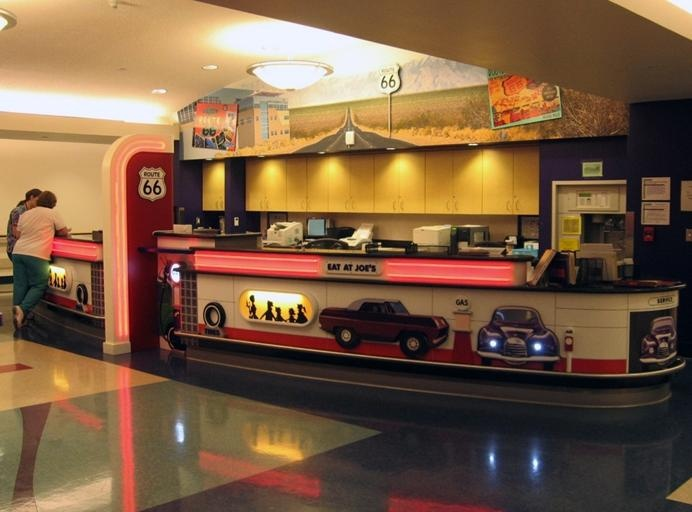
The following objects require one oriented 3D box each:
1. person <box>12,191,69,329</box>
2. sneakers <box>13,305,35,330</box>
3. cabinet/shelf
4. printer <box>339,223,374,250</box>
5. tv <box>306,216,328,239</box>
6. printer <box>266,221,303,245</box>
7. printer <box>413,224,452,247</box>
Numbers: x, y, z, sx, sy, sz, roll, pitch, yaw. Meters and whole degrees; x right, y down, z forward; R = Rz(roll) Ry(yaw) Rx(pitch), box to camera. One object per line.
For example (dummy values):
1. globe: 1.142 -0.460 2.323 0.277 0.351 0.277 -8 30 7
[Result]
1. person: -4.577 0.089 7.932 0.756 2.048 0.555 -5 9 -31
2. sneakers: -4.859 0.932 7.998 0.141 0.377 0.279 7 -2 9
3. cabinet/shelf: 0.568 -1.237 9.042 5.263 1.020 0.589 4 8 28
4. printer: 0.199 -0.312 8.462 0.384 0.250 0.552 2 6 41
5. tv: -0.554 -0.509 9.918 0.161 0.361 0.595 -7 10 -40
6. printer: -0.789 -0.277 6.788 0.351 0.245 0.350 -1 -2 28
7. printer: 1.129 -0.248 7.054 0.362 0.296 0.378 0 -2 36
